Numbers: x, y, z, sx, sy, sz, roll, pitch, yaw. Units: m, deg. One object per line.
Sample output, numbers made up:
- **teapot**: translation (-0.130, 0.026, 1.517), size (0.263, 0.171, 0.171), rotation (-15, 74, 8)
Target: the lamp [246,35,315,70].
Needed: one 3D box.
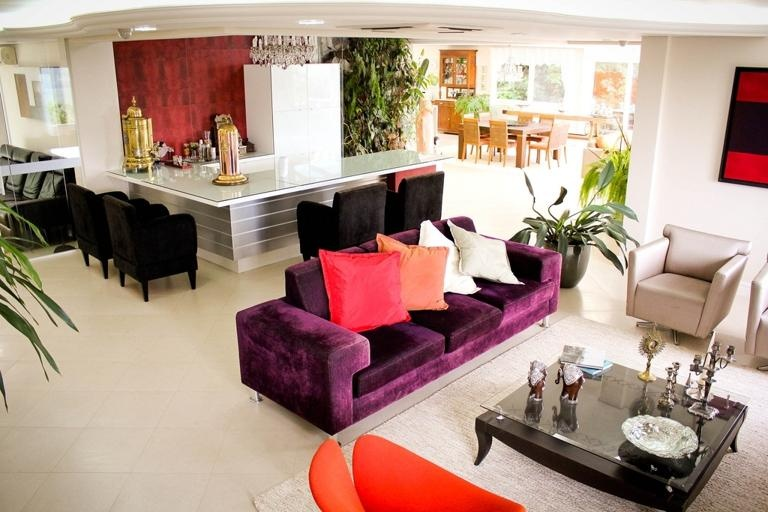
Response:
- **lamp**: translation (-1.605, -3.398, 8.125), size (0.577, 0.316, 0.569), rotation (8, 12, 35)

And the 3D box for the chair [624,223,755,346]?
- **chair**: translation (2.935, 0.296, 4.871), size (1.129, 0.849, 1.083), rotation (-2, 22, -1)

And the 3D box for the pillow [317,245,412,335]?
- **pillow**: translation (-0.135, 0.275, 4.050), size (0.737, 0.626, 0.342), rotation (-4, 11, -28)

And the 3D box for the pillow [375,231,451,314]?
- **pillow**: translation (0.306, 0.144, 4.343), size (0.702, 0.673, 0.263), rotation (0, 18, 22)

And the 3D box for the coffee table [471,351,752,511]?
- **coffee table**: translation (1.359, 1.138, 3.165), size (1.027, 0.357, 1.030), rotation (16, 26, 38)

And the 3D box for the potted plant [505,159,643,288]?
- **potted plant**: translation (2.304, -0.346, 5.943), size (1.725, 1.450, 1.718), rotation (12, 18, 34)

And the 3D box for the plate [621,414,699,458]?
- **plate**: translation (1.679, 1.138, 3.048), size (0.379, 0.091, 0.388), rotation (-1, 12, -8)

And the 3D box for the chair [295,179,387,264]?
- **chair**: translation (-0.425, -0.409, 5.948), size (0.647, 0.861, 0.663), rotation (18, 27, 38)

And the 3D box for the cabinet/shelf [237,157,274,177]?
- **cabinet/shelf**: translation (-1.856, -1.259, 7.091), size (0.548, 0.178, 0.373), rotation (-17, 29, -35)

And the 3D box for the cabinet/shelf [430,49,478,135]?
- **cabinet/shelf**: translation (2.116, -5.143, 15.635), size (1.288, 2.427, 0.540), rotation (-4, 27, -13)

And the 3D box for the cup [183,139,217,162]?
- **cup**: translation (-2.787, -1.561, 7.468), size (0.345, 0.161, 0.454), rotation (-16, 33, -36)

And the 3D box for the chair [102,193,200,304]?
- **chair**: translation (-2.629, -0.039, 5.547), size (0.874, 1.156, 0.826), rotation (-18, 31, -38)
